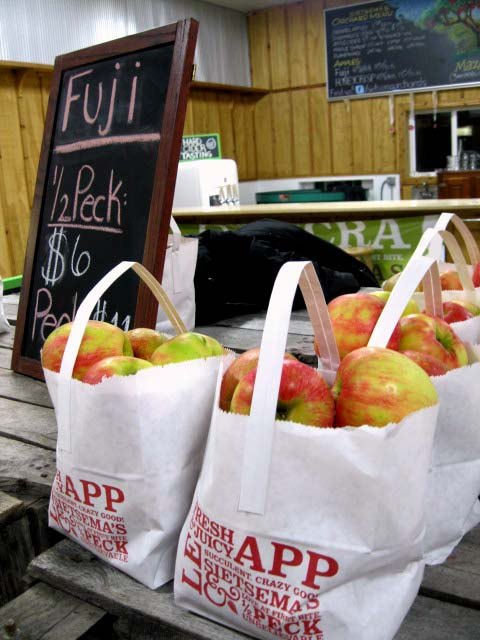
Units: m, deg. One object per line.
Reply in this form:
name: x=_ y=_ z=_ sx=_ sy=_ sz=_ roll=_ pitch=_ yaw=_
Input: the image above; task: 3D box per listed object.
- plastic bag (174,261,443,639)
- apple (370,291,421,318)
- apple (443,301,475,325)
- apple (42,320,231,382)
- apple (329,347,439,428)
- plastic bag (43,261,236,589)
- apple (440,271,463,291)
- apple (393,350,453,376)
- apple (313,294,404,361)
plastic bag: x=0.050 y=0.118 z=0.593 sx=0.337 sy=0.353 sz=0.236 roll=-7 pitch=18 yaw=-38
apple: x=0.242 y=-0.025 z=0.815 sx=0.050 sy=0.054 sz=0.050 roll=1 pitch=5 yaw=-27
apple: x=0.317 y=-0.006 z=0.761 sx=0.044 sy=0.038 sz=0.038 roll=12 pitch=4 yaw=13
apple: x=-0.149 y=0.043 z=0.691 sx=0.173 sy=0.081 sz=0.113 roll=2 pitch=-8 yaw=-1
apple: x=0.137 y=0.066 z=0.489 sx=0.088 sy=0.086 sz=0.081 roll=-7 pitch=-31 yaw=29
plastic bag: x=-0.073 y=0.113 z=0.729 sx=0.238 sy=0.336 sz=0.329 roll=-14 pitch=24 yaw=-36
apple: x=0.389 y=-0.063 z=0.954 sx=0.034 sy=0.038 sz=0.042 roll=-9 pitch=18 yaw=-24
apple: x=0.208 y=0.052 z=0.569 sx=0.042 sy=0.038 sz=0.037 roll=5 pitch=-6 yaw=7
apple: x=0.162 y=0.006 z=0.696 sx=0.086 sy=0.097 sz=0.094 roll=20 pitch=7 yaw=20
